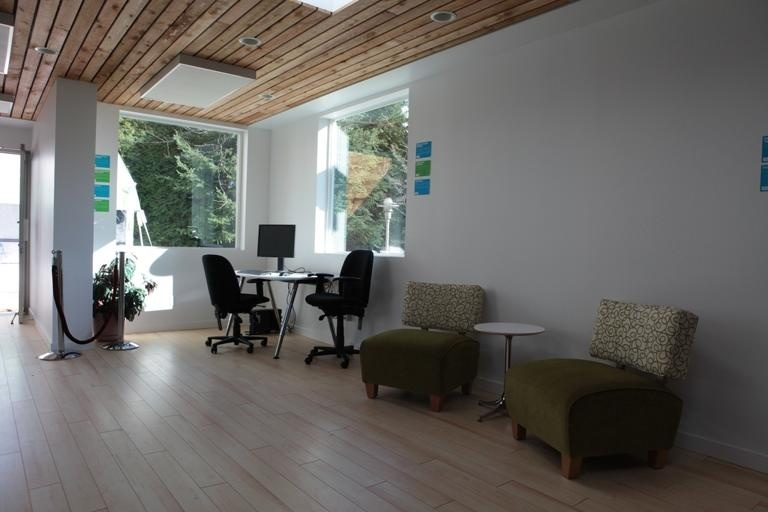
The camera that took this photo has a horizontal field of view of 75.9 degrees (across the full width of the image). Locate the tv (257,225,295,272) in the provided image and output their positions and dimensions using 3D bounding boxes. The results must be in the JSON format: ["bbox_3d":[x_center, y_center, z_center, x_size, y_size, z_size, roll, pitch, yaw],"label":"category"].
[{"bbox_3d":[-1.625,-0.143,7.477,0.757,0.727,0.222,-4,-11,33],"label":"tv"}]

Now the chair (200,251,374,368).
[{"bbox_3d":[-1.176,0.547,6.852,2.329,1.420,1.561,4,7,18],"label":"chair"}]

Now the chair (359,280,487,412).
[{"bbox_3d":[0.441,0.890,5.155,1.031,1.138,0.984,5,8,29],"label":"chair"}]

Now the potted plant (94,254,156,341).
[{"bbox_3d":[-3.751,0.575,7.042,0.665,1.177,0.843,3,7,13],"label":"potted plant"}]
